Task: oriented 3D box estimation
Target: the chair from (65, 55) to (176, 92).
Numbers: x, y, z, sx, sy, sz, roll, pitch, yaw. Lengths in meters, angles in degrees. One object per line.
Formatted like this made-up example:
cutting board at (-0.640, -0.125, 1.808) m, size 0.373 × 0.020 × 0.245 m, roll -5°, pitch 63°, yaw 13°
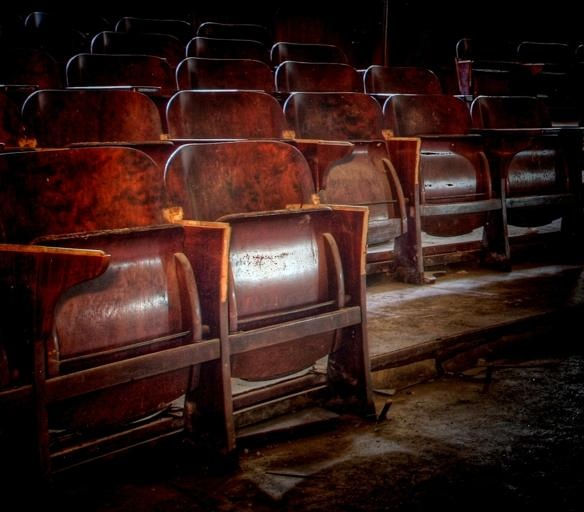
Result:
chair at (-1.437, -1.480, 4.357) m, size 0.851 × 0.266 × 0.241 m, roll -6°, pitch 8°, yaw -35°

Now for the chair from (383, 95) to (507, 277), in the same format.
chair at (1.272, -0.691, 4.643) m, size 0.858 × 1.322 × 0.864 m, roll -11°, pitch 17°, yaw -18°

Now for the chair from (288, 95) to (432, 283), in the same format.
chair at (0.505, -0.496, 3.966) m, size 0.843 × 1.198 × 0.827 m, roll -18°, pitch 36°, yaw -41°

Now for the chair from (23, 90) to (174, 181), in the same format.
chair at (-1.561, -0.874, 3.796) m, size 0.993 × 0.439 × 1.192 m, roll -7°, pitch 3°, yaw -23°

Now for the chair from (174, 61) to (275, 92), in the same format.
chair at (-0.599, -1.506, 4.509) m, size 0.877 × 0.274 × 0.249 m, roll -6°, pitch 6°, yaw -34°

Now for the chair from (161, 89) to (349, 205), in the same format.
chair at (-0.316, -0.584, 3.075) m, size 0.879 × 0.764 × 0.657 m, roll -6°, pitch 12°, yaw -17°

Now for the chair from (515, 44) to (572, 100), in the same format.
chair at (3.823, -2.833, 8.103) m, size 0.745 × 0.977 × 1.355 m, roll -1°, pitch 7°, yaw 27°
